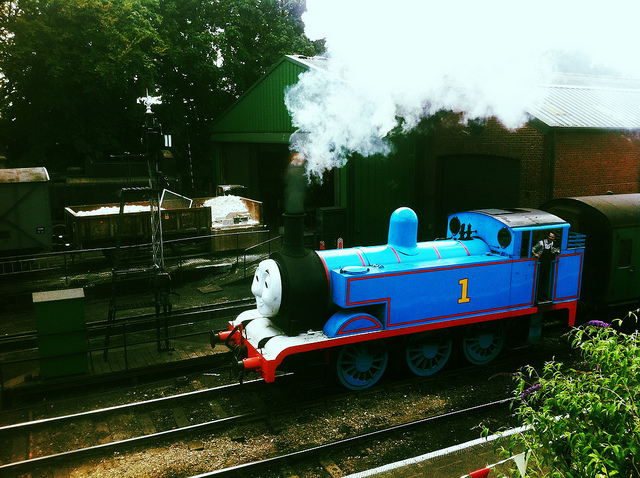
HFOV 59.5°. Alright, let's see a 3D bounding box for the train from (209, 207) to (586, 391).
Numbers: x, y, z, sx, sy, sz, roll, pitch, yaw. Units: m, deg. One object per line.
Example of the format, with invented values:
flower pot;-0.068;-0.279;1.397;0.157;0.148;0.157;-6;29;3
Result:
train;1.902;1.451;14.250;8.627;4.283;3.976;-5;11;-23
